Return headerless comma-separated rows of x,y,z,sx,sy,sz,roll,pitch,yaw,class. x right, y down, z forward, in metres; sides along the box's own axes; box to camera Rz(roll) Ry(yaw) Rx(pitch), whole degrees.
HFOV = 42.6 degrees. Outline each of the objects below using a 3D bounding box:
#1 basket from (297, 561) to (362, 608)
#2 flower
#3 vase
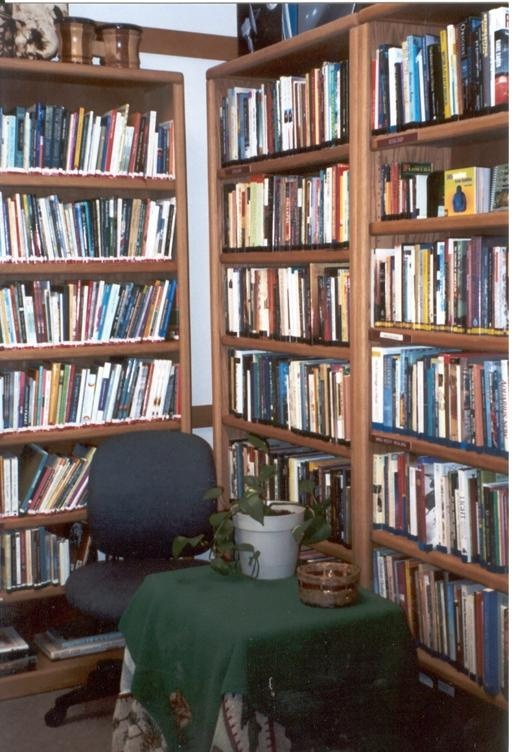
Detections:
0.148,0.448,1.432,0.085,0.046,0.099,0,-5,-5,basket
0.020,0.311,1.755,0.362,0.270,0.382,-2,-7,11,flower
0.038,0.404,1.591,0.146,0.131,0.167,1,-4,-1,vase
